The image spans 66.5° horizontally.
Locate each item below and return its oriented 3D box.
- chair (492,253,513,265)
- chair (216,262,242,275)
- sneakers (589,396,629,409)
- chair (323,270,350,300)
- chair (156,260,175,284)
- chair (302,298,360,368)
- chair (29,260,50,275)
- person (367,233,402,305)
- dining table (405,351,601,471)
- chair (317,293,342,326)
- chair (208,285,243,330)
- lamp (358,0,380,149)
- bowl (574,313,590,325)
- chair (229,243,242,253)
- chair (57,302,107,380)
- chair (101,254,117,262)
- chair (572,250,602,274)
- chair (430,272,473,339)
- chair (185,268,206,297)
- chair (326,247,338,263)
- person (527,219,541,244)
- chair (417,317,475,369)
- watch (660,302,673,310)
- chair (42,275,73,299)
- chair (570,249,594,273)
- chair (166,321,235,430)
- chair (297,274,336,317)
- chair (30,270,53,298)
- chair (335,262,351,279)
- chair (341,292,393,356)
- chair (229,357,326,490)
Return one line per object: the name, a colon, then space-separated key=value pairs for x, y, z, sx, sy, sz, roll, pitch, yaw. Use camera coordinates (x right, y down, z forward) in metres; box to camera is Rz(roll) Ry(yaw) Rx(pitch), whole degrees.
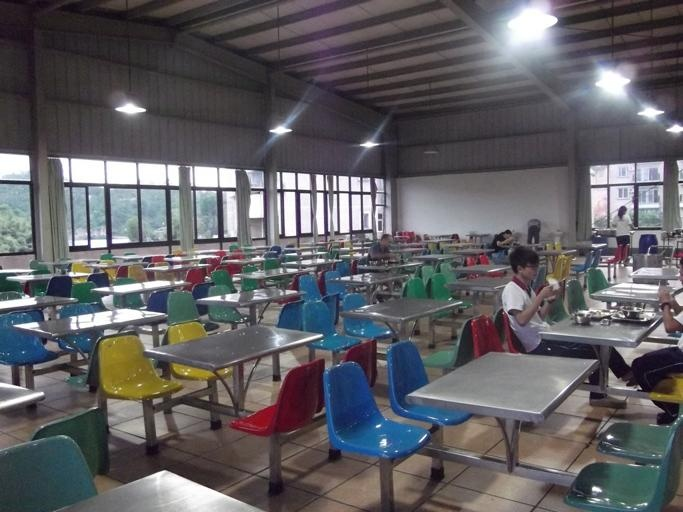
chair: x=2.978 y=0.074 z=9.663 sx=0.209 sy=0.112 sz=0.163 roll=5 pitch=45 yaw=15
chair: x=-2.018 y=0.218 z=9.457 sx=0.387 sy=0.315 sz=0.284 roll=2 pitch=2 yaw=18
sneakers: x=2.344 y=1.277 z=4.563 sx=0.236 sy=0.082 sz=0.115 roll=-4 pitch=1 yaw=22
chair: x=-0.053 y=0.393 z=6.977 sx=0.389 sy=0.386 sz=0.352 roll=-2 pitch=3 yaw=-45
chair: x=-2.863 y=0.282 z=8.442 sx=0.299 sy=0.390 sz=0.297 roll=-1 pitch=0 yaw=-34
chair: x=-0.176 y=0.691 z=5.018 sx=0.597 sy=0.723 sz=0.549 roll=1 pitch=5 yaw=31
chair: x=-5.399 y=0.220 z=9.285 sx=0.208 sy=0.296 sz=0.227 roll=-2 pitch=1 yaw=-41
person: x=0.724 y=0.200 z=9.146 sx=0.525 sy=1.147 sz=0.674 roll=1 pitch=-2 yaw=-34
dining table: x=1.022 y=0.971 z=3.090 sx=0.759 sy=0.532 sz=1.234 roll=-2 pitch=2 yaw=40
chair: x=-0.085 y=0.572 z=5.691 sx=0.274 sy=0.324 sz=0.309 roll=-8 pitch=12 yaw=-43
chair: x=-1.325 y=0.605 z=6.083 sx=0.494 sy=0.433 sz=0.520 roll=4 pitch=4 yaw=33
lamp: x=0.755 y=-5.102 z=14.762 sx=0.719 sy=3.388 sz=0.696 roll=-4 pitch=35 yaw=-1
bowl: x=1.874 y=0.498 z=4.032 sx=0.095 sy=0.060 sz=0.079 roll=-5 pitch=4 yaw=-40
chair: x=-2.757 y=-0.185 z=13.556 sx=0.304 sy=0.277 sz=0.274 roll=2 pitch=-2 yaw=-42
chair: x=-2.497 y=0.829 z=4.935 sx=0.385 sy=0.500 sz=0.361 roll=-1 pitch=22 yaw=-30
chair: x=-4.734 y=0.057 z=10.559 sx=0.220 sy=0.141 sz=0.235 roll=2 pitch=6 yaw=15
chair: x=5.013 y=0.139 z=10.600 sx=0.354 sy=0.443 sz=0.903 roll=10 pitch=10 yaw=32
chair: x=1.297 y=0.658 z=6.577 sx=0.512 sy=0.740 sz=0.527 roll=-9 pitch=5 yaw=25
chair: x=-2.056 y=0.377 z=7.301 sx=0.318 sy=0.434 sz=0.293 roll=7 pitch=7 yaw=39
chair: x=-0.171 y=-0.015 z=12.040 sx=0.272 sy=0.356 sz=0.324 roll=-1 pitch=-3 yaw=32
person: x=6.371 y=-0.794 z=17.155 sx=0.406 sy=0.760 sz=1.030 roll=-1 pitch=5 yaw=20
chair: x=0.894 y=0.713 z=4.268 sx=0.388 sy=0.431 sz=0.469 roll=2 pitch=2 yaw=33
watch: x=2.542 y=0.394 z=4.065 sx=0.083 sy=0.052 sz=0.083 roll=1 pitch=-12 yaw=-11
chair: x=-3.817 y=0.427 z=7.013 sx=0.333 sy=0.453 sz=0.289 roll=4 pitch=4 yaw=27
chair: x=5.160 y=0.120 z=11.149 sx=0.505 sy=0.428 sz=0.509 roll=11 pitch=12 yaw=28
chair: x=-1.105 y=0.894 z=4.281 sx=0.521 sy=0.644 sz=0.502 roll=-3 pitch=-1 yaw=24
chair: x=-0.281 y=0.517 z=6.408 sx=0.443 sy=0.562 sz=0.349 roll=-1 pitch=1 yaw=42
chair: x=-4.411 y=0.425 z=7.634 sx=0.329 sy=0.410 sz=0.322 roll=9 pitch=10 yaw=28
chair: x=0.032 y=0.216 z=7.857 sx=0.198 sy=0.234 sz=0.212 roll=-3 pitch=4 yaw=-35
chair: x=0.294 y=0.643 z=5.416 sx=0.569 sy=0.407 sz=0.517 roll=-3 pitch=4 yaw=-37
chair: x=-0.348 y=1.127 z=3.450 sx=0.349 sy=0.869 sz=0.700 roll=1 pitch=6 yaw=41
